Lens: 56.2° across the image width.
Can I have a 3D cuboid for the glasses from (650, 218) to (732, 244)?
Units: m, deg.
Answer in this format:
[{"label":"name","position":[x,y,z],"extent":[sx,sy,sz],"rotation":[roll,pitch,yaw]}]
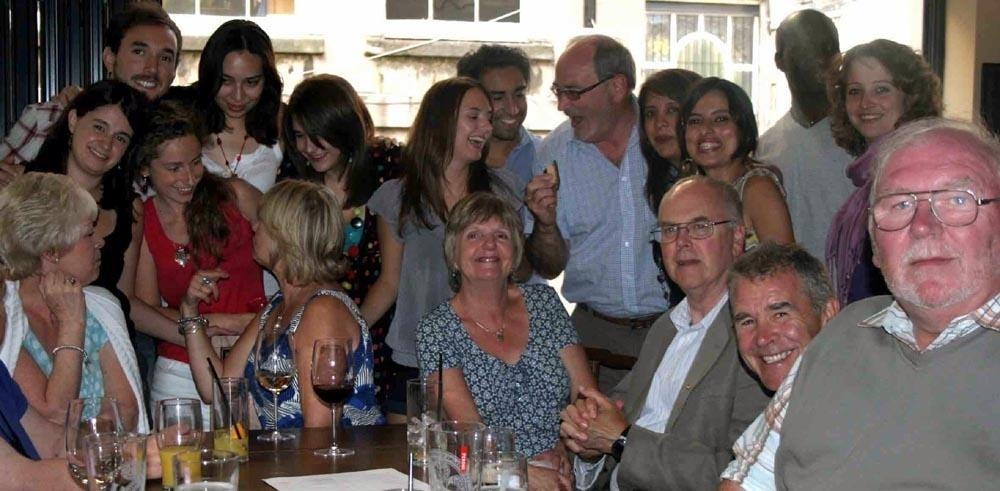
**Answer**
[{"label":"glasses","position":[1.245,-0.099,5.954],"extent":[0.469,0.147,0.114],"rotation":[-1,5,13]}]
